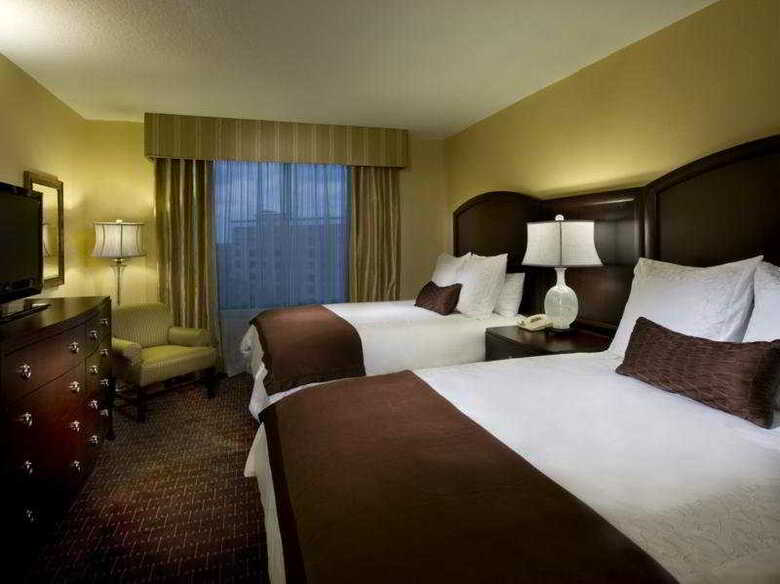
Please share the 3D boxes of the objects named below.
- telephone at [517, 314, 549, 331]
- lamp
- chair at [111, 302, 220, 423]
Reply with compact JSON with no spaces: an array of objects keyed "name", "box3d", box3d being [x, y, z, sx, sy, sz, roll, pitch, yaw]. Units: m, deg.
[{"name":"telephone","box3d":[1.096,0.234,3.860,0.134,0.048,0.139,-5,11,-10]},{"name":"lamp","box3d":[-2.562,-0.264,4.899,0.415,0.843,0.588,-6,14,-27]},{"name":"chair","box3d":[-2.024,0.561,4.439,0.842,0.953,0.858,-2,3,12]}]
